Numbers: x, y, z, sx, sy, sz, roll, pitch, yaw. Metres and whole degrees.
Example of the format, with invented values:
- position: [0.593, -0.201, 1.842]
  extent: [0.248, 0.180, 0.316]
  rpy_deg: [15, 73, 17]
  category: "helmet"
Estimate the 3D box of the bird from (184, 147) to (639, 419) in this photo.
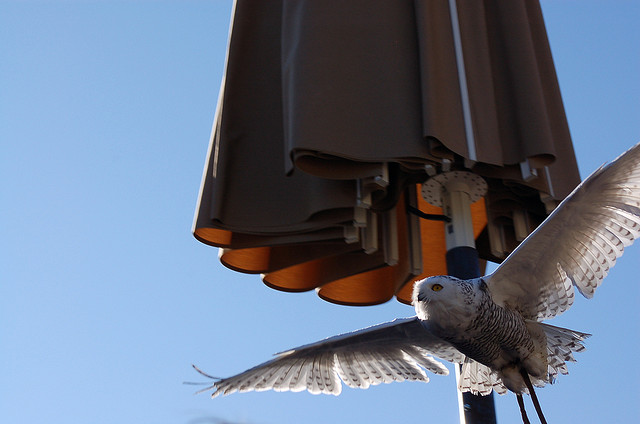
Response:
- position: [0.879, 0.642, 5.126]
  extent: [2.382, 0.897, 0.995]
  rpy_deg: [-22, -54, 18]
  category: "bird"
